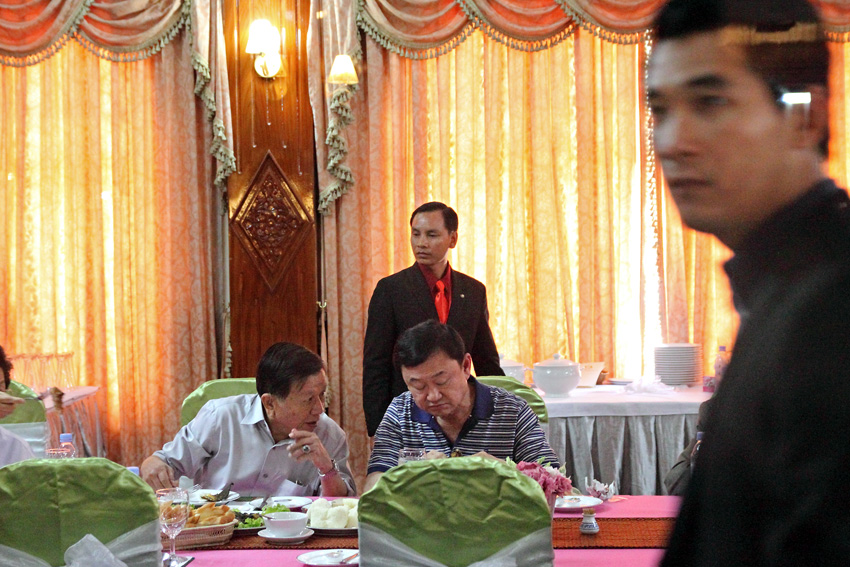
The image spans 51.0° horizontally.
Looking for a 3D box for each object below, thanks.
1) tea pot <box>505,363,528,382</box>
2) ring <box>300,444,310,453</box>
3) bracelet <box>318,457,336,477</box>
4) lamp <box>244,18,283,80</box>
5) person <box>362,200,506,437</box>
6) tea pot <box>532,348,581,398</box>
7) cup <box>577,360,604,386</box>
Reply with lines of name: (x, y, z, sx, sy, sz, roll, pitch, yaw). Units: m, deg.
tea pot: (0.422, 0.399, 4.099, 0.104, 0.083, 0.090, 1, -5, -8)
ring: (-0.330, 0.460, 2.483, 0.025, 0.025, 0.007, 4, -16, -17)
bracelet: (-0.288, 0.550, 2.655, 0.047, 0.054, 0.026, -10, -49, 16)
lamp: (-0.852, -1.242, 4.725, 0.180, 0.311, 0.087, -1, -4, -9)
person: (0.046, 0.397, 3.502, 0.557, 1.340, 0.349, 3, 4, -10)
tea pot: (0.582, 0.390, 3.896, 0.188, 0.150, 0.159, 0, 2, -11)
cup: (0.784, 0.431, 4.232, 0.124, 0.083, 0.127, 0, -10, 0)
